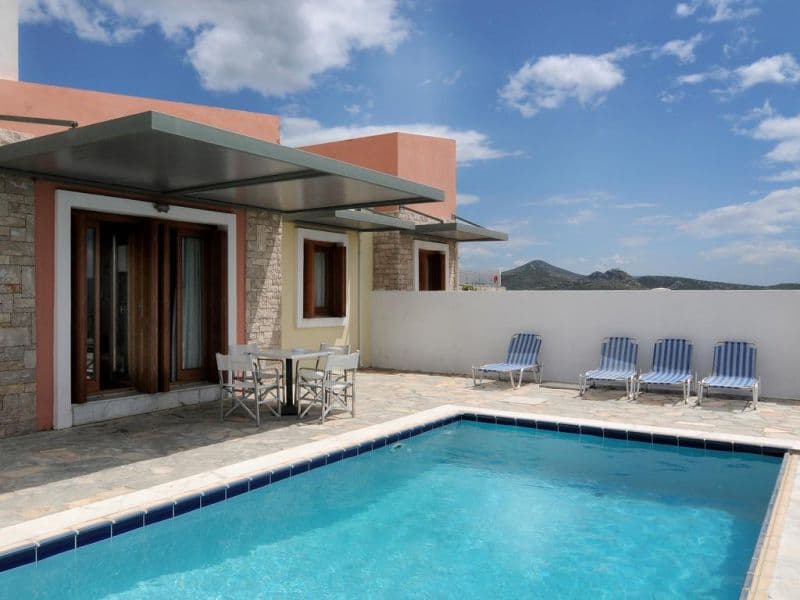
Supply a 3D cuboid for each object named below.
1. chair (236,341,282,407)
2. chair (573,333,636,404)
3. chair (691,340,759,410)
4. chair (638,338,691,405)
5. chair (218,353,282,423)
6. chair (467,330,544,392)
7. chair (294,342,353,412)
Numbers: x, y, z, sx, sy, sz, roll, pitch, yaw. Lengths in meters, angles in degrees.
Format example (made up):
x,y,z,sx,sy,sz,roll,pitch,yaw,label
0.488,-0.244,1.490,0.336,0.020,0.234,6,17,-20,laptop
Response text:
x,y,z,sx,sy,sz,roll,pitch,yaw,label
-2.209,1.167,9.580,0.787,0.815,0.713,9,0,10,chair
3.809,1.181,10.582,0.807,0.843,1.061,0,6,36,chair
5.399,1.191,9.620,0.822,0.817,1.031,2,6,36,chair
4.617,1.181,10.164,0.863,0.832,1.070,1,7,31,chair
-2.212,1.263,8.715,0.955,0.966,0.920,1,-3,-15,chair
2.136,1.175,11.430,0.812,0.796,1.426,3,6,40,chair
-1.203,1.188,9.151,0.765,0.824,0.710,-6,7,-44,chair
